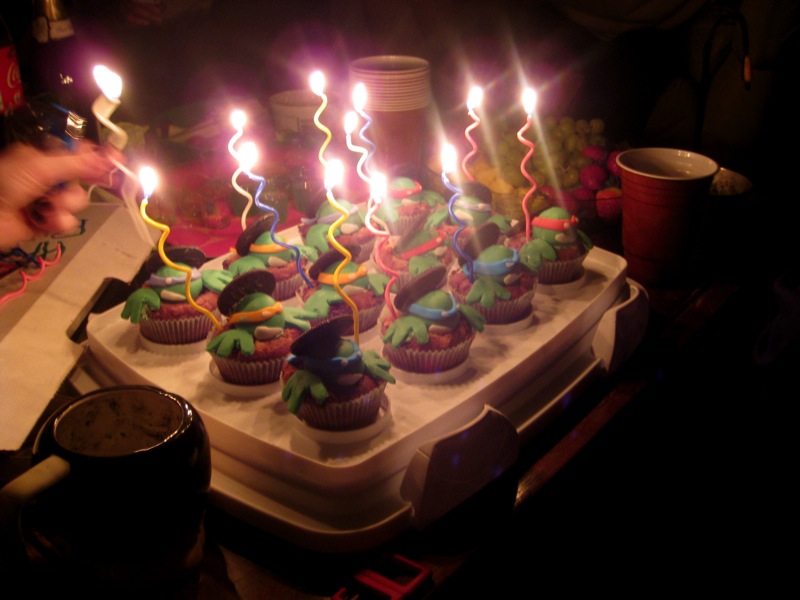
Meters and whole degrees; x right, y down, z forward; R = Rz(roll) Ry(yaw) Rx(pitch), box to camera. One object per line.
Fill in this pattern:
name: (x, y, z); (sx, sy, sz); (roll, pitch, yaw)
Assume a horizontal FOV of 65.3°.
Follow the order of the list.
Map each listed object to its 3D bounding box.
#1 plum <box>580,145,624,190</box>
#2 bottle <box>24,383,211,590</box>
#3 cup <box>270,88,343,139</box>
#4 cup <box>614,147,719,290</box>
plum: (0.679, -0.448, 2.128); (0.111, 0.071, 0.154); (4, 45, 15)
bottle: (-0.410, 0.278, 0.994); (0.199, 0.219, 0.293); (18, 29, 20)
cup: (-0.353, -0.720, 2.401); (0.228, 0.144, 0.238); (0, 36, 0)
cup: (0.788, -0.240, 1.887); (0.229, 0.393, 0.248); (-3, 23, 1)
